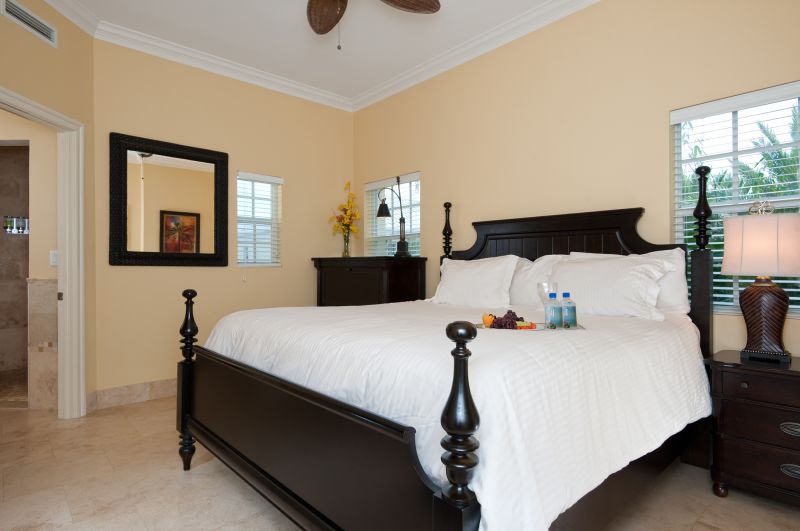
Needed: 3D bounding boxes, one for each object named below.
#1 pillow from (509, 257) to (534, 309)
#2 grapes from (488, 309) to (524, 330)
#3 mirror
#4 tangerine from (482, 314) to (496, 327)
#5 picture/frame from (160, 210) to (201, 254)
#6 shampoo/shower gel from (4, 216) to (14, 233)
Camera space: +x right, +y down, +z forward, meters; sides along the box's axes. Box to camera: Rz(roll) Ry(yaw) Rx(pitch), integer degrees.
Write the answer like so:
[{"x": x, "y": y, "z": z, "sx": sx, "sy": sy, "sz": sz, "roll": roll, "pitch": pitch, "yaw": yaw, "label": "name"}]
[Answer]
[{"x": 1.140, "y": 0.143, "z": 4.969, "sx": 0.097, "sy": 0.362, "sz": 0.344, "roll": 13, "pitch": -10, "yaw": -20, "label": "pillow"}, {"x": 0.761, "y": 0.382, "z": 3.710, "sx": 0.184, "sy": 0.082, "sz": 0.139, "roll": 4, "pitch": -3, "yaw": -35, "label": "grapes"}, {"x": -2.629, "y": -0.742, "z": 5.775, "sx": 1.508, "sy": 1.866, "sz": 0.119, "roll": 2, "pitch": -3, "yaw": -39, "label": "mirror"}, {"x": 0.627, "y": 0.397, "z": 3.739, "sx": 0.081, "sy": 0.082, "sz": 0.080, "roll": 6, "pitch": -6, "yaw": -19, "label": "tangerine"}, {"x": -2.505, "y": -0.386, "z": 5.859, "sx": 0.476, "sy": 0.701, "sz": 0.030, "roll": 2, "pitch": 2, "yaw": -40, "label": "picture/frame"}, {"x": -4.844, "y": -0.508, "z": 6.438, "sx": 0.118, "sy": 0.219, "sz": 0.055, "roll": -10, "pitch": 17, "yaw": -34, "label": "shampoo/shower gel"}]
